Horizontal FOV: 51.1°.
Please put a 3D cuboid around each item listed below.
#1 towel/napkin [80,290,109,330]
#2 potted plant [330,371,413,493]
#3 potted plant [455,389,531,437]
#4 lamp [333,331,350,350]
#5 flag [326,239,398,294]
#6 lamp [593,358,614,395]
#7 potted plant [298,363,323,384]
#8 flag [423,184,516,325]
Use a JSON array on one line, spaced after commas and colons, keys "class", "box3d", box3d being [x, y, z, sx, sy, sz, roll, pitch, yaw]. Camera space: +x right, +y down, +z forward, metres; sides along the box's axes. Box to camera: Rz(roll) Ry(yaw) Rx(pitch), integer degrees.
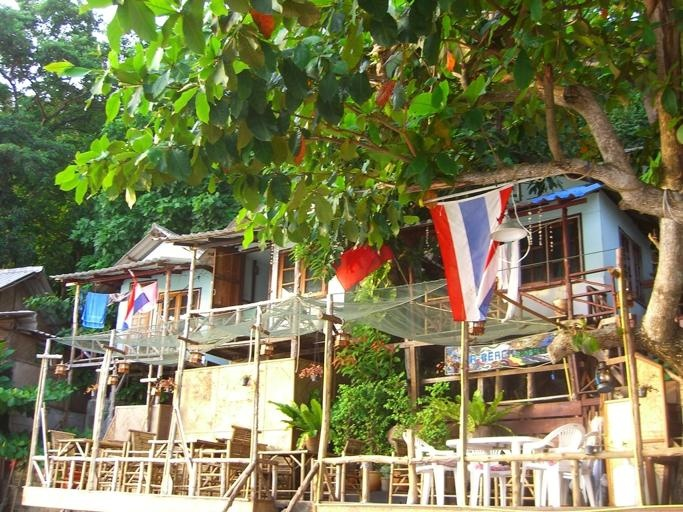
[{"class": "towel/napkin", "box3d": [-7.945, 1.707, 23.134, 0.713, 1.145, 0.823, 6, -17, -17]}, {"class": "potted plant", "box3d": [0.063, 3.470, 15.256, 2.272, 1.608, 1.504, -11, 13, -37]}, {"class": "potted plant", "box3d": [2.587, 2.983, 13.197, 1.486, 0.420, 1.098, 1, -8, -11]}, {"class": "lamp", "box3d": [0.019, 1.584, 13.769, 0.240, 0.288, 0.547, -1, -13, 6]}, {"class": "flag", "box3d": [0.268, 0.122, 15.509, 0.896, 1.232, 0.308, 1, -50, 24]}, {"class": "lamp", "box3d": [4.469, 2.043, 12.126, 0.286, 0.510, 0.780, -5, -15, 18]}, {"class": "potted plant", "box3d": [-0.559, 2.604, 15.905, 0.642, 0.301, 0.541, 4, -9, -23]}, {"class": "flag", "box3d": [1.360, -0.005, 7.416, 0.784, 1.342, 0.651, -3, -17, 12]}]
